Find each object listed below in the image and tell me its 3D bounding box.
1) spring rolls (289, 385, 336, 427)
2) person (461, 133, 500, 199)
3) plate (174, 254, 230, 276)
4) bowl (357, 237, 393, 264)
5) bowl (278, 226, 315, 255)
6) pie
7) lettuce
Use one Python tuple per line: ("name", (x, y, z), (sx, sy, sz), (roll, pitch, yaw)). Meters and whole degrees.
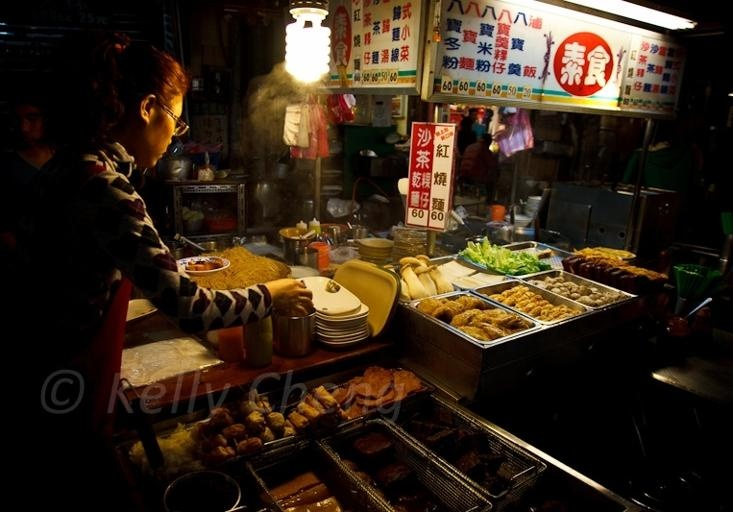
("spring rolls", (-0.351, 0.919, 3.115), (0.350, 0.176, 0.277), (-1, 11, -19))
("person", (3.019, -2.412, 12.698), (0.999, 2.156, 1.034), (13, 19, 35))
("plate", (-1.235, 0.065, 3.655), (0.237, 0.044, 0.244), (14, 13, 40))
("bowl", (0.081, -0.077, 4.784), (0.287, 0.162, 0.282), (2, 18, -1))
("bowl", (-0.696, -0.170, 4.866), (0.323, 0.227, 0.329), (2, 5, 0))
("pie", (0.075, 0.899, 3.273), (0.447, 0.121, 0.305), (-11, 18, -30))
("lettuce", (1.492, 0.027, 4.949), (0.593, 0.151, 0.588), (-9, 19, -42))
